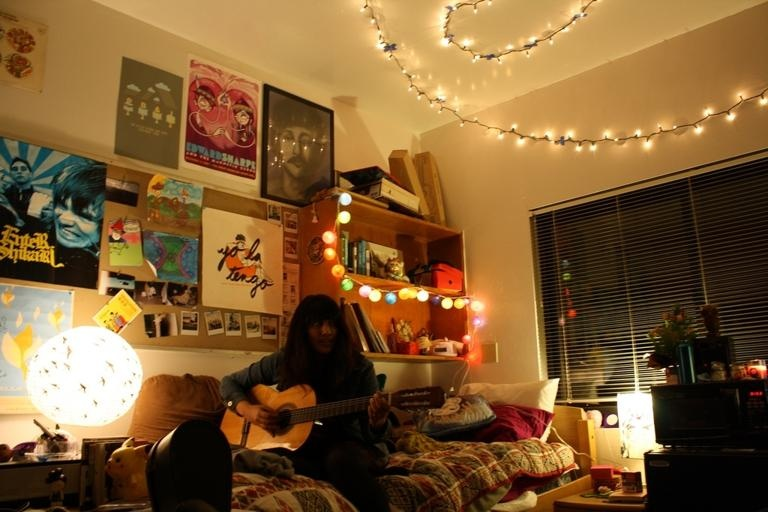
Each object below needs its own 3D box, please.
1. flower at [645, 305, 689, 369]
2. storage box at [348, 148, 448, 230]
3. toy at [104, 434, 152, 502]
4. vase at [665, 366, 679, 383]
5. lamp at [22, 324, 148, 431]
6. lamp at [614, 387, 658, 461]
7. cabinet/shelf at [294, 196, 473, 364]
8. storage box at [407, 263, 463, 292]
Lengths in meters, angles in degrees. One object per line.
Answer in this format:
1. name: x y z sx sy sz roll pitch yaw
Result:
1. flower: 1.787 0.508 3.549 0.215 0.384 0.241 9 -16 -28
2. storage box: 0.104 -0.551 4.792 1.086 0.726 0.316 11 -5 -34
3. toy: -1.289 1.099 2.855 0.197 0.254 0.079 0 -14 5
4. vase: 1.772 0.723 3.501 0.081 0.110 0.120 -3 -5 42
5. lamp: -1.590 0.631 3.215 0.614 0.569 0.547 -11 -13 -13
6. lamp: 1.672 1.121 3.747 0.227 0.420 0.178 -7 -17 31
7. cabinet/shelf: -0.016 0.211 4.382 1.329 0.963 0.423 14 -22 -42
8. storage box: 0.445 0.251 4.801 0.261 0.175 0.378 -2 -9 39
